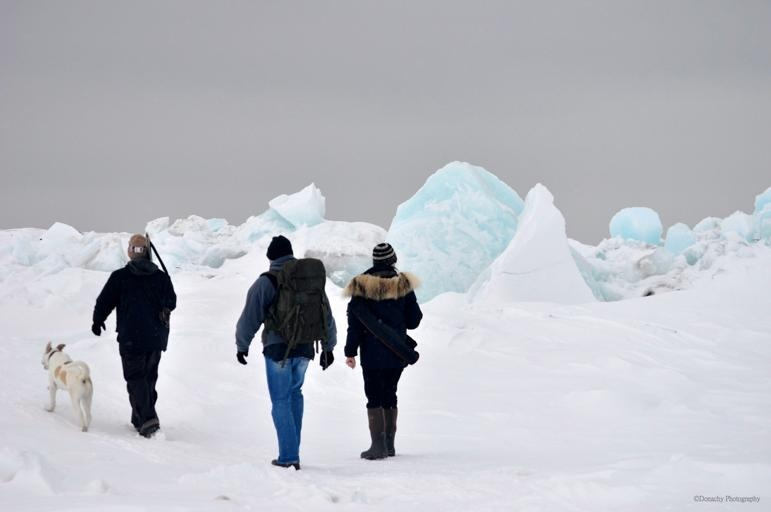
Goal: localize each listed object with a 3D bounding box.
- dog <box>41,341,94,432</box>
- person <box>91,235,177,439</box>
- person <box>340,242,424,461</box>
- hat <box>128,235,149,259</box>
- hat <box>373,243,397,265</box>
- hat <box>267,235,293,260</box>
[{"bbox_3d":[-4.693,1.934,17.324,0.555,1.295,0.941,6,-6,-39],"label":"dog"},{"bbox_3d":[-3.725,1.175,17.358,1.148,3.022,0.436,3,-5,-16],"label":"person"},{"bbox_3d":[-0.041,1.389,17.138,1.127,3.225,0.491,2,-5,-4],"label":"person"},{"bbox_3d":[-3.703,-0.150,17.445,0.319,0.341,0.375,2,9,-13],"label":"hat"},{"bbox_3d":[0.026,-0.043,17.327,0.378,0.298,0.311,1,9,8],"label":"hat"},{"bbox_3d":[-1.533,-0.134,17.006,0.354,0.320,0.395,1,6,42],"label":"hat"}]
